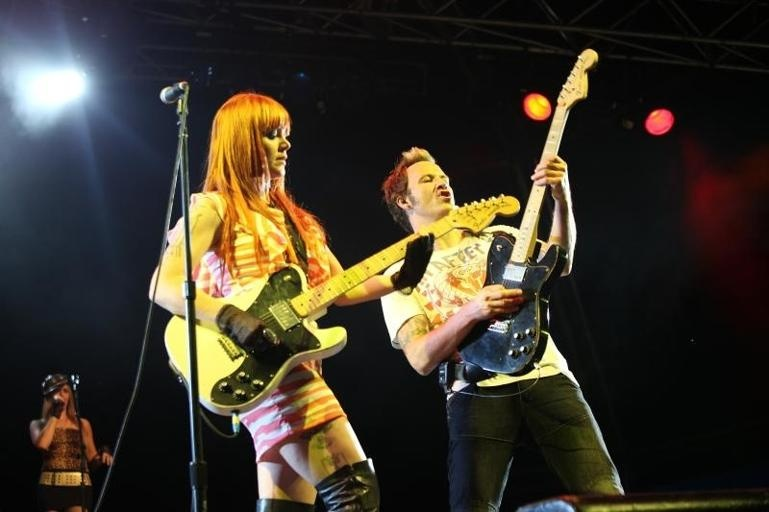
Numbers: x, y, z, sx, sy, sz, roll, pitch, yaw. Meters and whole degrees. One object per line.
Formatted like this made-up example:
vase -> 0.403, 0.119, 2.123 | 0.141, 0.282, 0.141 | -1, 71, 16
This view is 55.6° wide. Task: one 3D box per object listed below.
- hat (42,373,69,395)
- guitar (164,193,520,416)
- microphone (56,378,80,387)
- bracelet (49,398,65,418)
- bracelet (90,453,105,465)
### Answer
hat -> -3.545, 1.373, 7.846 | 0.260, 0.147, 0.203 | -30, 7, 22
guitar -> -0.336, 0.457, 6.067 | 2.600, 0.856, 0.303 | -34, -22, -22
microphone -> -3.379, 1.337, 7.831 | 0.147, 0.084, 0.115 | -9, -5, -25
bracelet -> -3.455, 1.598, 7.729 | 0.126, 0.194, 0.055 | 5, -7, 8
bracelet -> -3.103, 2.197, 7.918 | 0.091, 0.035, 0.141 | 3, -3, 11
